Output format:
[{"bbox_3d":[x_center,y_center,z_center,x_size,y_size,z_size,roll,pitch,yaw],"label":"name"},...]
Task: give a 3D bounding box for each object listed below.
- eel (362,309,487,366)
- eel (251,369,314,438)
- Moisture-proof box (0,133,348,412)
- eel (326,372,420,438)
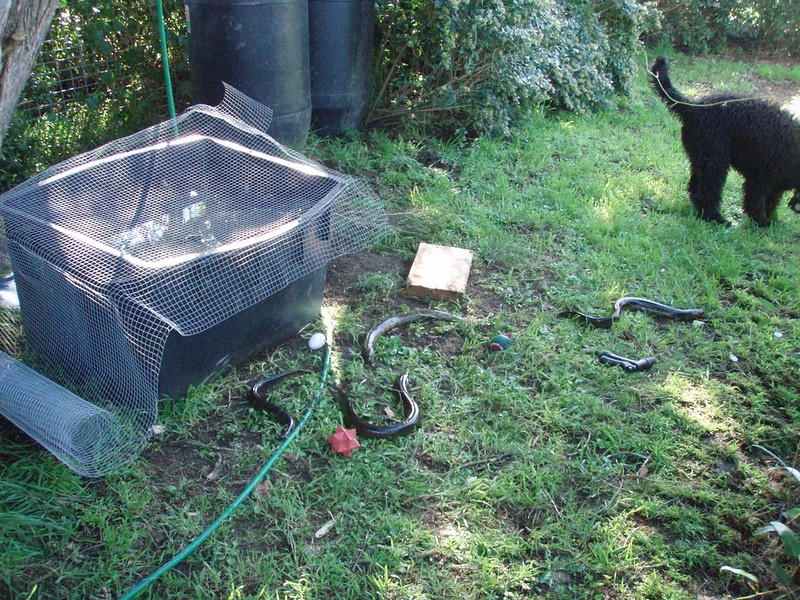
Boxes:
[{"bbox_3d":[0.100,0.215,4.900,0.887,0.125,0.284,-14,34,-27],"label":"eel"},{"bbox_3d":[-0.762,0.588,4.413,0.337,0.087,0.878,13,11,-3],"label":"eel"},{"bbox_3d":[-1.385,-0.285,4.337,1.319,1.063,1.670,25,36,34],"label":"Moisture-proof box"},{"bbox_3d":[-0.139,0.650,4.324,0.499,0.149,0.444,-3,30,-10],"label":"eel"}]
